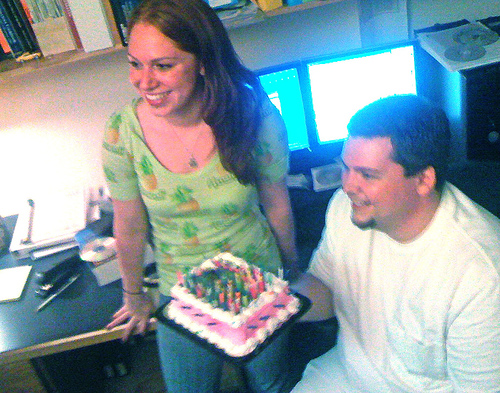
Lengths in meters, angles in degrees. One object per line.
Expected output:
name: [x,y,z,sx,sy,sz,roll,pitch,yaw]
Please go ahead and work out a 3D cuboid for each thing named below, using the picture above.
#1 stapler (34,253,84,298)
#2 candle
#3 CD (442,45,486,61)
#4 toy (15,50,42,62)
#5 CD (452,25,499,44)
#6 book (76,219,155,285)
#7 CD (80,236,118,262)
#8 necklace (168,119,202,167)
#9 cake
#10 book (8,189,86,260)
stapler: [-0.985,0.419,2.239,0.254,0.055,0.135,-36,49,-28]
candle: [-0.123,0.359,1.777,0.279,0.075,0.263,17,38,22]
CD: [1.053,-0.708,2.087,0.181,0.087,0.151,-2,17,25]
toy: [-1.071,-0.677,2.054,0.096,0.036,0.056,-4,8,-10]
CD: [1.158,-0.823,2.181,0.179,0.028,0.157,-10,44,2]
book: [-0.646,0.284,2.053,0.405,0.167,0.419,-20,22,-23]
CD: [-0.775,0.275,2.188,0.184,0.104,0.169,16,25,35]
necklace: [-0.246,-0.195,1.688,0.094,0.167,0.076,-14,18,-2]
cake: [-0.083,0.456,1.744,0.449,0.186,0.434,-31,32,-24]
book: [-1.140,0.136,2.433,0.427,0.087,0.369,-5,40,3]
